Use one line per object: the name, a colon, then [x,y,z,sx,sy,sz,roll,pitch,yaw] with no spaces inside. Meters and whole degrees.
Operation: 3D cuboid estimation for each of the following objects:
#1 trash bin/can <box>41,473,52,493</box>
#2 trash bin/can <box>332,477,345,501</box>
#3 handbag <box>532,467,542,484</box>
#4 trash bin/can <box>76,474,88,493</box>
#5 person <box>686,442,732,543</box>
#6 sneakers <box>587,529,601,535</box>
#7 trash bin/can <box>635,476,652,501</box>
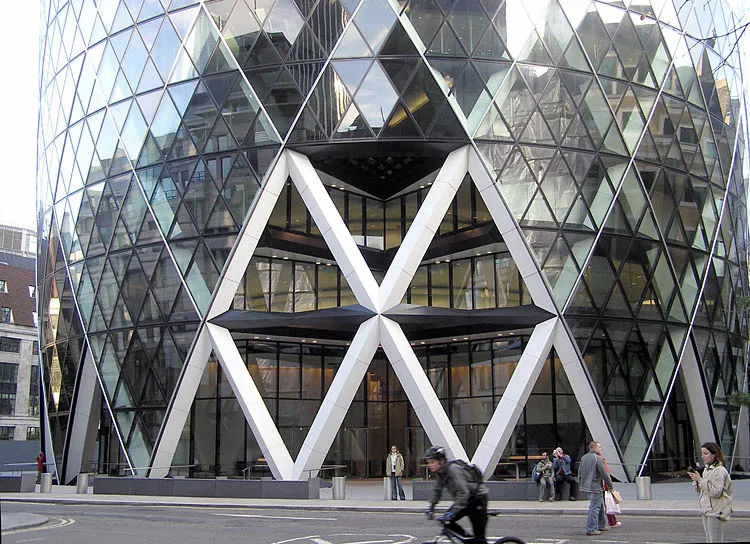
trash bin/can: [-15.410,9.841,42.984,0.444,0.884,1.177,4,-14,-21]
trash bin/can: [-1.444,8.554,36.472,0.420,0.857,0.467,-3,-13,7]
handbag: [6.229,7.759,35.162,0.343,0.575,0.523,-3,-13,8]
trash bin/can: [-13.211,9.526,41.435,0.396,0.843,0.808,4,-14,-22]
person: [8.744,5.652,23.733,1.062,2.494,0.667,0,-12,-7]
sneakers: [6.677,7.884,27.890,0.419,0.199,0.157,2,-16,-15]
trash bin/can: [10.501,8.405,35.780,0.580,0.869,1.054,-5,-14,15]
